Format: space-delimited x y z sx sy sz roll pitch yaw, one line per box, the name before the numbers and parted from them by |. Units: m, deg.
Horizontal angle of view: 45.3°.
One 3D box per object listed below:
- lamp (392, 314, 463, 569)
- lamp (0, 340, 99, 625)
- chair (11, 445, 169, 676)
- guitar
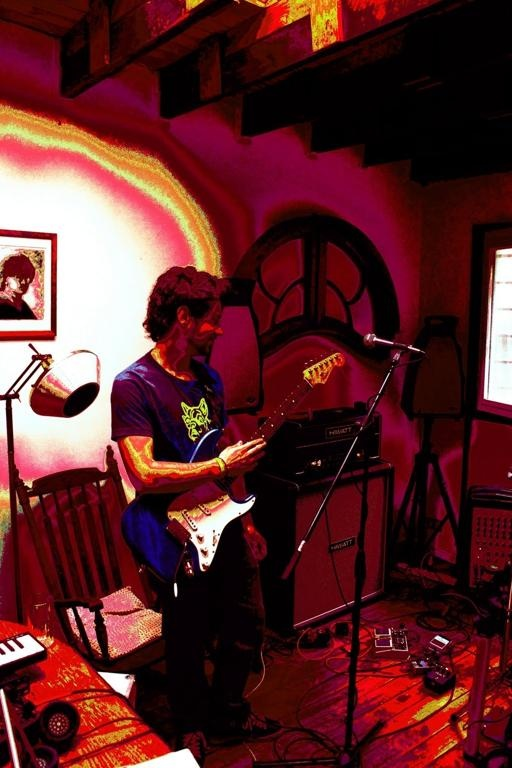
lamp | 1.068 0.370 3.783 0.390 1.564 0.520 3 6 15
lamp | -0.741 0.398 2.159 0.277 1.060 0.662 -2 7 -27
chair | -0.553 0.751 2.292 0.551 0.836 0.454 10 15 36
guitar | -0.082 0.268 2.059 0.752 0.741 0.222 -2 7 -29
